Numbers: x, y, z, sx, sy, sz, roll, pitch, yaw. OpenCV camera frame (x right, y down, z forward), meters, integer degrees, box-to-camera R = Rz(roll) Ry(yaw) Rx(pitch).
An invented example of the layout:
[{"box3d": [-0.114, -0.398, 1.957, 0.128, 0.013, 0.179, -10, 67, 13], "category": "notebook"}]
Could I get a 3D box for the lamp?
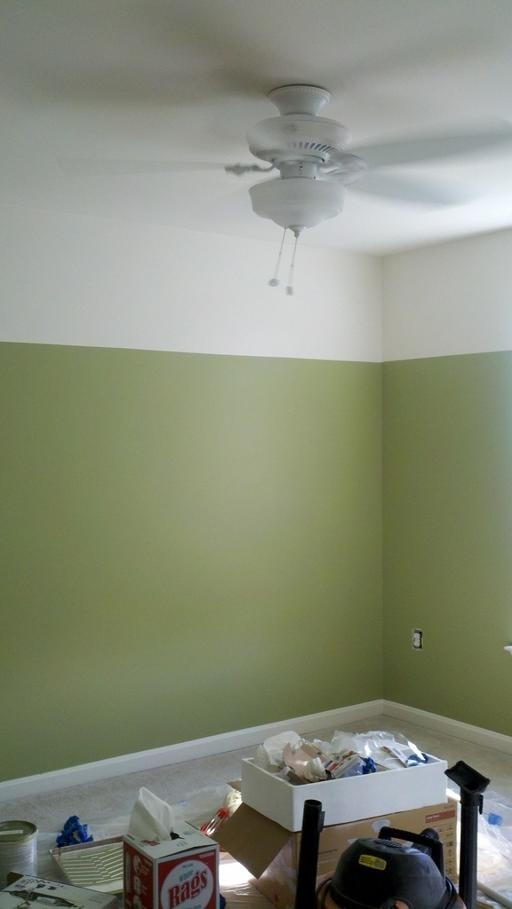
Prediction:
[{"box3d": [0.120, -0.704, 2.469, 0.316, 0.352, 0.326, 10, 5, 34], "category": "lamp"}]
